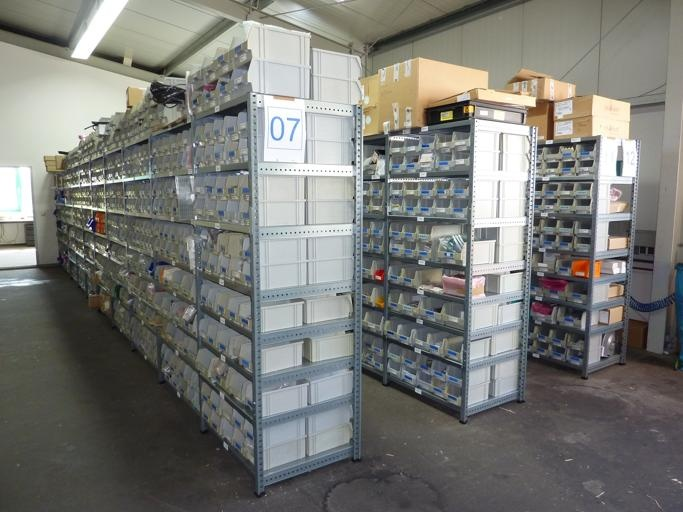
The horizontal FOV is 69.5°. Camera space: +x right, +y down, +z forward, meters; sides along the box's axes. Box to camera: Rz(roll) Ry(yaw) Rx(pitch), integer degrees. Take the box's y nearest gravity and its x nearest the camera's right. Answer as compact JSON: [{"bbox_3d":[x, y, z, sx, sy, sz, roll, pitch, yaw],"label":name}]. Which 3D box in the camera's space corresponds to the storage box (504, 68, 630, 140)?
[{"bbox_3d":[2.640,-1.782,5.769,1.317,0.794,0.669,4,10,27],"label":"storage box"}]

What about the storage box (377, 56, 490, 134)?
[{"bbox_3d":[0.921,-1.751,5.553,1.116,0.640,1.114,-13,9,-24],"label":"storage box"}]

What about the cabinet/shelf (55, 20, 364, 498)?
[{"bbox_3d":[-1.533,-0.160,5.193,0.897,3.582,4.164,-8,11,-41],"label":"cabinet/shelf"}]

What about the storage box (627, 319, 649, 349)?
[{"bbox_3d":[3.785,0.988,6.389,0.289,0.305,0.295,9,11,42],"label":"storage box"}]

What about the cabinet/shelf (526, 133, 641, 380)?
[{"bbox_3d":[2.819,-0.036,5.736,1.102,2.671,0.882,2,9,20],"label":"cabinet/shelf"}]
